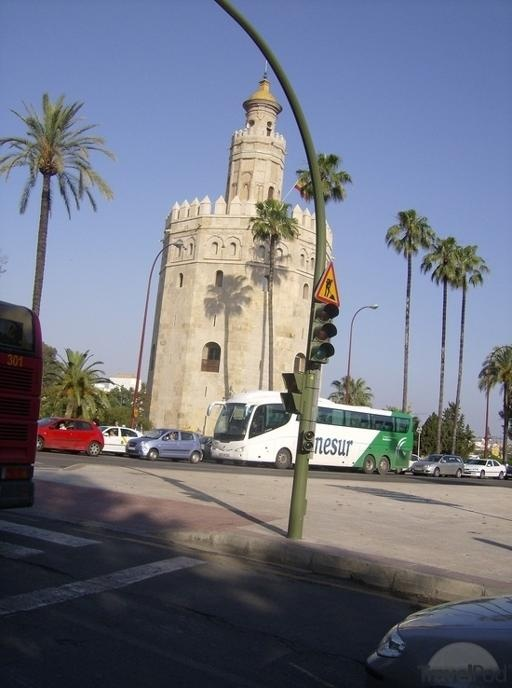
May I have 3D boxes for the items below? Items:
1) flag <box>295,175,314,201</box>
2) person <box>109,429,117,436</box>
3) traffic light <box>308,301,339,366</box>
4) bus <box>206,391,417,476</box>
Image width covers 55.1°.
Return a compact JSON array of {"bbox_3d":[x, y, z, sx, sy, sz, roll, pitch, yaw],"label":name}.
[{"bbox_3d":[4.513,-13.841,45.288,1.319,2.421,3.366,6,-7,10],"label":"flag"},{"bbox_3d":[-9.286,5.902,32.265,0.401,0.732,0.402,-2,-4,1],"label":"person"},{"bbox_3d":[1.108,-0.152,8.145,0.416,1.003,0.342,6,-7,5],"label":"traffic light"},{"bbox_3d":[4.876,6.182,35.186,16.260,5.341,3.768,12,-4,-32],"label":"bus"}]
